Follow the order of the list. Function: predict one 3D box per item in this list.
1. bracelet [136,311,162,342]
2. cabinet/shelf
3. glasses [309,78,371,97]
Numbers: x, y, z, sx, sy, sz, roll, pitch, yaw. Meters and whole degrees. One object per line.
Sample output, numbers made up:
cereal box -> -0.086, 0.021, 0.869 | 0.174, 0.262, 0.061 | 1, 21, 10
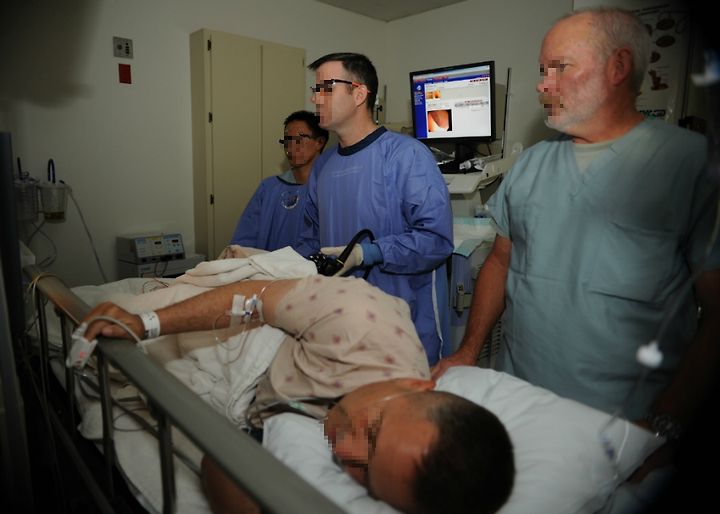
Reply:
bracelet -> -0.637, 0.216, 1.513 | 0.054, 0.091, 0.078 | -3, 5, -43
cabinet/shelf -> -0.861, -0.904, 4.195 | 0.772, 1.942, 0.212 | -5, 46, -19
glasses -> -0.112, -0.752, 2.193 | 0.235, 0.064, 0.076 | 2, 16, 19
